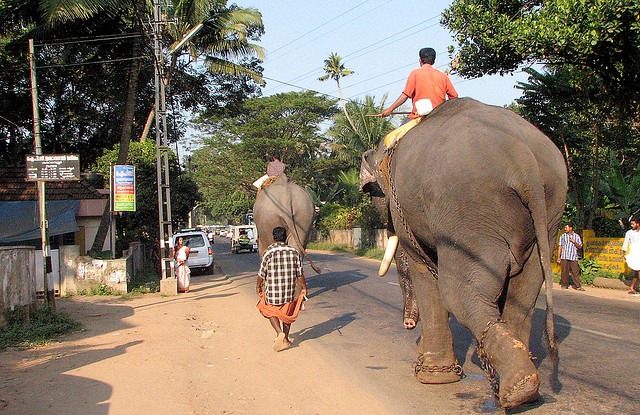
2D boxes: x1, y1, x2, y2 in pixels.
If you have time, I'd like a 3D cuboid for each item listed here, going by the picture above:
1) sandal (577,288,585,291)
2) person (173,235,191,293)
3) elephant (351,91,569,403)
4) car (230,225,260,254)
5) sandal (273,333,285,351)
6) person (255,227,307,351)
[{"bbox_3d":[8.346,2.588,16.800,0.147,0.058,0.074,-2,1,-6],"label":"sandal"},{"bbox_3d":[-4.880,2.124,18.739,0.544,1.555,1.436,-1,1,-15],"label":"person"},{"bbox_3d":[2.390,0.617,8.388,2.343,4.879,1.389,0,1,41],"label":"elephant"},{"bbox_3d":[-5.347,1.886,37.802,1.836,1.789,3.291,1,12,-8],"label":"car"},{"bbox_3d":[-0.859,2.794,11.093,0.224,0.391,0.162,12,14,-17],"label":"sandal"},{"bbox_3d":[-0.842,1.719,11.242,1.040,2.610,0.656,-1,1,-5],"label":"person"}]
